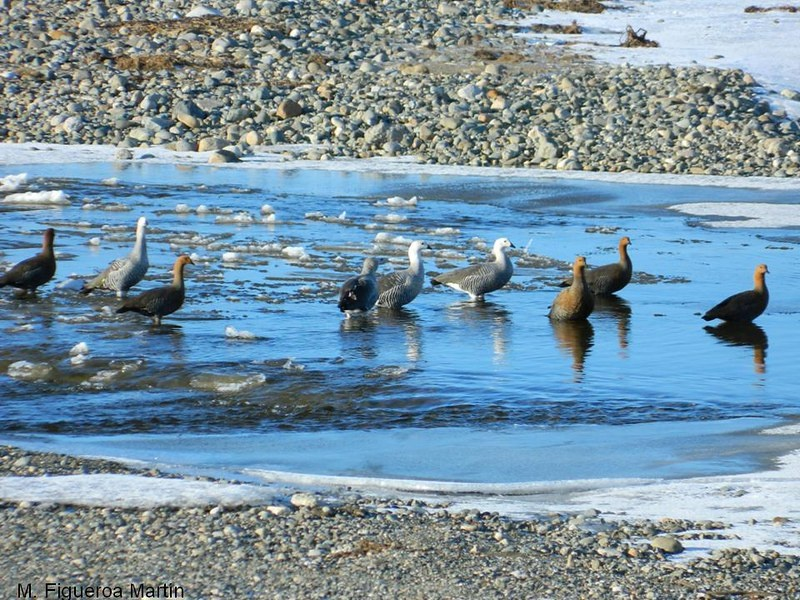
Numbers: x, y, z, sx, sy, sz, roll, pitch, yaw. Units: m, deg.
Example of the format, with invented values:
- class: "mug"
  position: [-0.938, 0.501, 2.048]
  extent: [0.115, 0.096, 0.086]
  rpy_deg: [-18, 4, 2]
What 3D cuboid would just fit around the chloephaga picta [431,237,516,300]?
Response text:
- class: "chloephaga picta"
  position: [1.414, -0.503, 26.709]
  extent: [1.101, 1.393, 0.787]
  rpy_deg: [22, 51, 6]
